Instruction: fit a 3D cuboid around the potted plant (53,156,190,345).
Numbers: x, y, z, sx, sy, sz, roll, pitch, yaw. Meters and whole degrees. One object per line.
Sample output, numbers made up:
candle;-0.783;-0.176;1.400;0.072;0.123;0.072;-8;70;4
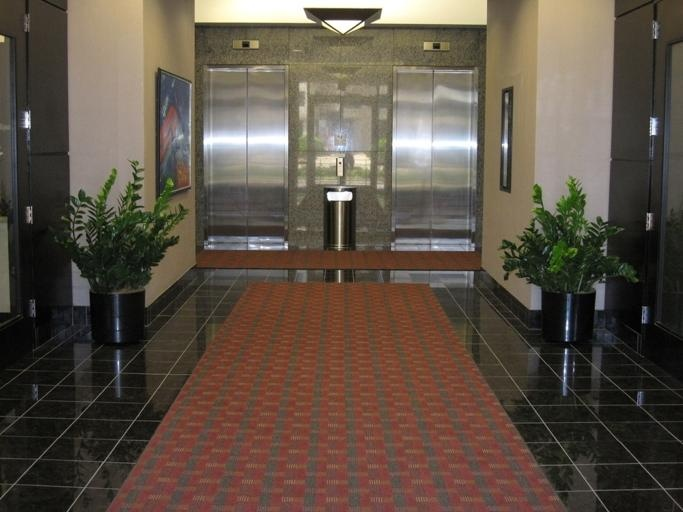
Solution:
potted plant;-2.261;0.113;5.138;0.954;1.353;0.946;-4;2;18

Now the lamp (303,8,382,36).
lamp;0.006;-3.348;7.295;1.035;0.317;0.528;0;13;-2

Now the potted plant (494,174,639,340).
potted plant;2.313;0.088;5.296;1.184;1.426;1.098;0;2;-3

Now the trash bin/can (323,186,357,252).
trash bin/can;-0.044;-0.718;9.847;0.594;1.179;0.273;-1;12;-6
